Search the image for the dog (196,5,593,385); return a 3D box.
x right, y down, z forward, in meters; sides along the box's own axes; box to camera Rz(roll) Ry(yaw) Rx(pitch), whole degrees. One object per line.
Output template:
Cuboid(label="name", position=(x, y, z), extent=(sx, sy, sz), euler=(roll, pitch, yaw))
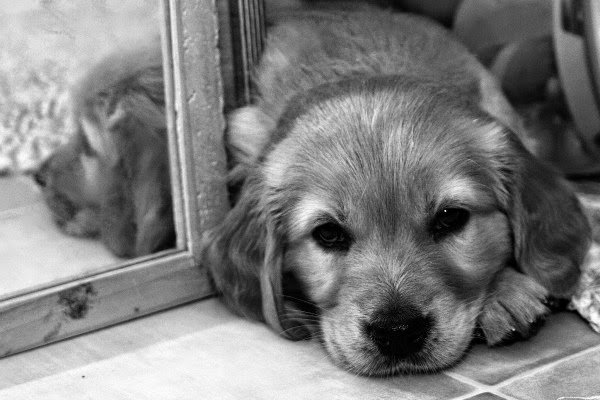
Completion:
Cuboid(label="dog", position=(0.275, -0.056, 1.932), extent=(1.002, 0.822, 1.123), euler=(-26, 42, -32))
